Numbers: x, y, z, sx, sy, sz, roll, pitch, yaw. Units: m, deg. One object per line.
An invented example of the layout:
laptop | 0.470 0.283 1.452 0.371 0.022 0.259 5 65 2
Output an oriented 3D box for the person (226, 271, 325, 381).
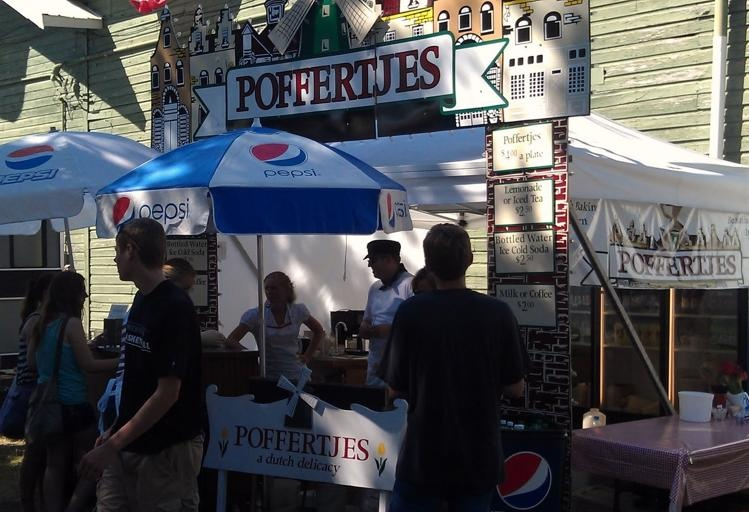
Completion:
person | -1.138 0.791 11.164 0.659 1.386 0.783 -18 -33 22

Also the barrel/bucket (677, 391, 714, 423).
barrel/bucket | 3.210 1.525 10.219 0.291 0.232 0.286 4 -8 1

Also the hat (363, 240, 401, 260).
hat | 0.103 -0.061 10.530 0.250 0.144 0.196 0 -2 6
